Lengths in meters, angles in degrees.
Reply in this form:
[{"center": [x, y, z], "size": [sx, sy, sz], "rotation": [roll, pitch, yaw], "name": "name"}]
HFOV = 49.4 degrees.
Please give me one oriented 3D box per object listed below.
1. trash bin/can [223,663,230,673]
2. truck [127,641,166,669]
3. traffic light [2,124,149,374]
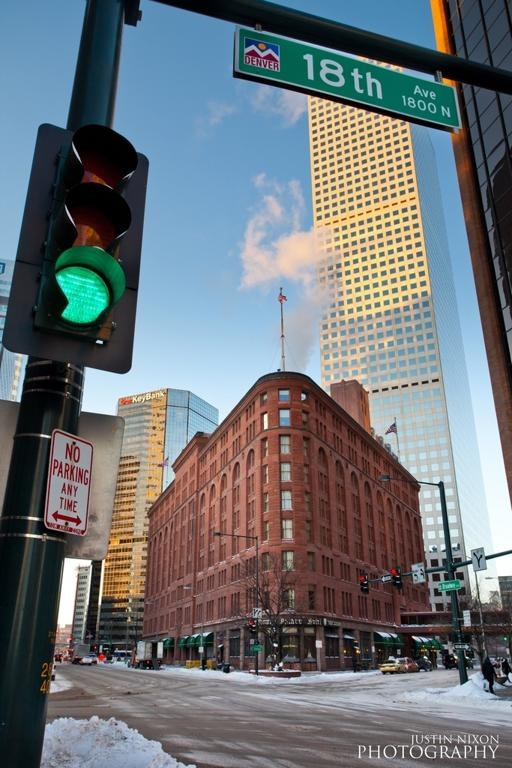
[{"center": [-2.697, 25.424, 49.855], "size": [0.517, 0.729, 2.209], "rotation": [1, -22, -6], "name": "trash bin/can"}, {"center": [-12.992, 32.354, 66.232], "size": [2.951, 3.235, 5.923], "rotation": [19, -40, -20], "name": "truck"}, {"center": [-0.909, -0.888, 2.893], "size": [0.611, 1.638, 0.825], "rotation": [3, -21, -12], "name": "traffic light"}]
